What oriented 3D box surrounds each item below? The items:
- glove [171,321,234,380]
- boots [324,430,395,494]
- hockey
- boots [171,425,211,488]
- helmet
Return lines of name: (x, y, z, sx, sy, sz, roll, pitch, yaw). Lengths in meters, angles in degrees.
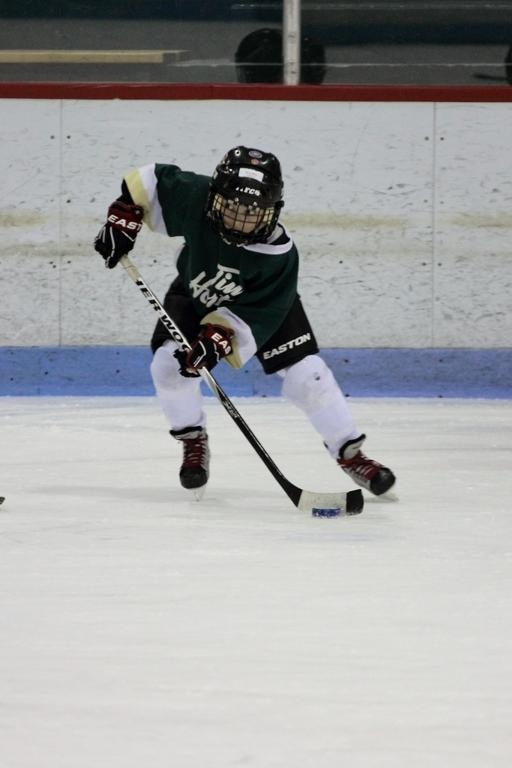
glove: (-0.112, -0.077, 2.275, 0.071, 0.089, 0.146, 11, 52, 49)
boots: (0.254, 0.191, 2.406, 0.073, 0.122, 0.195, -25, 19, -19)
hockey: (-0.062, 0.025, 2.723, 1.064, 0.115, 0.165, 45, 45, 18)
boots: (-0.148, 0.175, 2.389, 0.076, 0.097, 0.175, -10, 30, 9)
helmet: (-0.012, -0.441, 2.137, 0.151, 0.131, 0.162, 11, 24, -5)
